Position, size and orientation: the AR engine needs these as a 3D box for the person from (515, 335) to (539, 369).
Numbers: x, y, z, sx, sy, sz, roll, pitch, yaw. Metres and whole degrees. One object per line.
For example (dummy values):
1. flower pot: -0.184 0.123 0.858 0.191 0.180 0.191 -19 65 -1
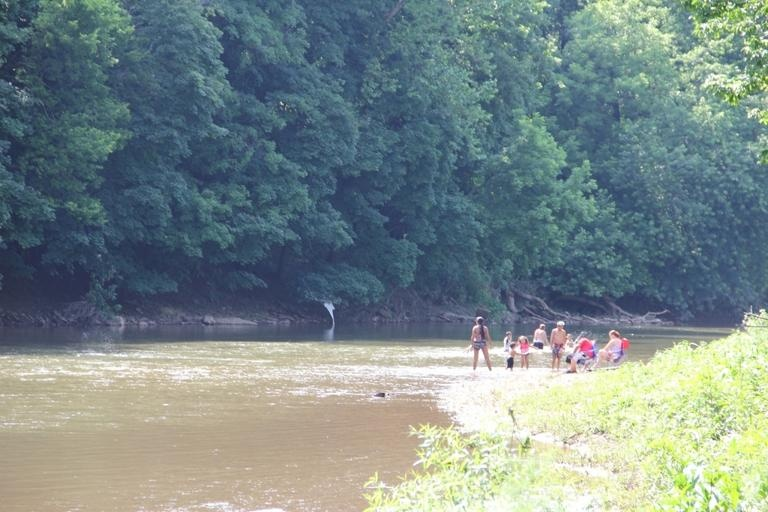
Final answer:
1. person: 5.917 4.092 49.500 1.177 1.348 0.435 -2 -6 -3

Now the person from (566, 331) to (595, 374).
1. person: 7.588 3.879 46.919 1.013 1.599 0.927 10 -8 -28
